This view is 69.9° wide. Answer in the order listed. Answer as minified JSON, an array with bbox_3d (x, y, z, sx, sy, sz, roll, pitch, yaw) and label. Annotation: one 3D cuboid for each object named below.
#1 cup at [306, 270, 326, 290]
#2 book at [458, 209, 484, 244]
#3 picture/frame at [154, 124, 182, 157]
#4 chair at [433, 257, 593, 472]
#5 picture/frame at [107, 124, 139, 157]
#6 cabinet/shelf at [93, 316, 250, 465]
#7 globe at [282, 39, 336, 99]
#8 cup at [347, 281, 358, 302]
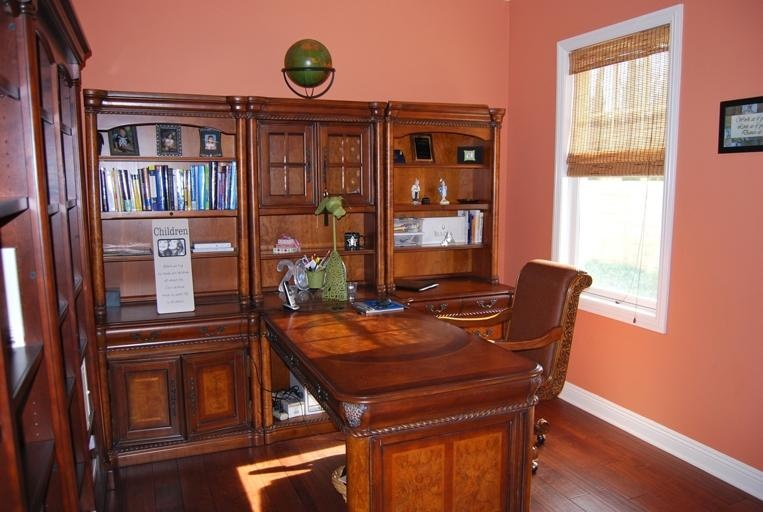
[{"bbox_3d":[-0.527,0.180,4.423,0.147,0.164,0.148,2,12,0],"label":"cup"},{"bbox_3d":[0.863,-0.297,5.314,0.266,0.392,0.288,-4,10,-16],"label":"book"},{"bbox_3d":[-1.675,-0.917,4.306,0.256,0.340,0.039,-2,5,-23],"label":"picture/frame"},{"bbox_3d":[0.934,0.761,4.266,1.004,1.363,0.811,0,6,-16],"label":"chair"},{"bbox_3d":[-1.985,-0.895,4.194,0.262,0.348,0.045,-3,9,-28],"label":"picture/frame"},{"bbox_3d":[-1.601,0.973,4.050,1.082,1.019,0.417,-2,4,-19],"label":"cabinet/shelf"},{"bbox_3d":[-0.544,-1.405,4.087,0.368,0.414,0.369,-5,10,-28],"label":"globe"},{"bbox_3d":[-0.236,0.282,4.403,0.124,0.182,0.121,1,10,0],"label":"cup"}]
